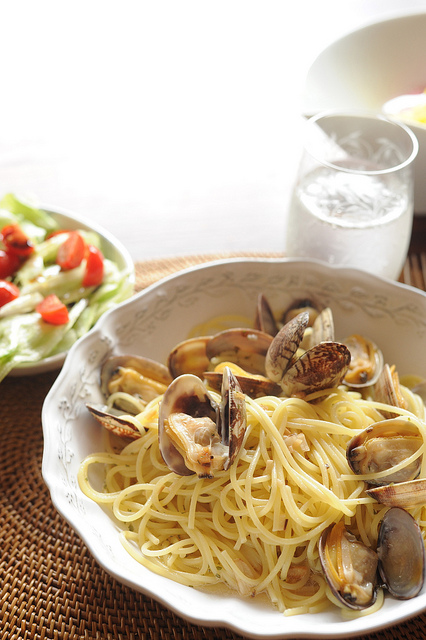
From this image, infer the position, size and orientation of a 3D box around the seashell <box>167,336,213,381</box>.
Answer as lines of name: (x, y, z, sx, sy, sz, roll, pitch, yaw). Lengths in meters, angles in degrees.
seashell: (-0.068, 0.073, 1.323, 0.078, 0.084, 0.113, 20, 29, 38)

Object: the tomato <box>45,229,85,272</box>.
tomato: (-0.390, -0.188, 1.593, 0.105, 0.098, 0.032, -23, -32, 37)

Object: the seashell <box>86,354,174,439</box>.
seashell: (-0.168, 0.165, 1.206, 0.200, 0.068, 0.191, 7, 36, 23)

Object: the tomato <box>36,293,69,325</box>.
tomato: (-0.405, -0.024, 1.472, 0.075, 0.032, 0.067, 18, 49, -31)

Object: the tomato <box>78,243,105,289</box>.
tomato: (-0.331, -0.154, 1.607, 0.048, 0.103, 0.097, 4, 1, -27)

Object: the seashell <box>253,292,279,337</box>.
seashell: (0.125, -0.013, 1.343, 0.042, 0.087, 0.073, -14, -9, 20)

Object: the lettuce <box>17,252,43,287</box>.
lettuce: (-0.496, -0.142, 1.617, 0.054, 0.033, 0.102, 19, 57, 8)

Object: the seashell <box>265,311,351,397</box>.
seashell: (0.180, 0.078, 1.109, 0.153, 0.191, 0.091, 2, 22, 4)
